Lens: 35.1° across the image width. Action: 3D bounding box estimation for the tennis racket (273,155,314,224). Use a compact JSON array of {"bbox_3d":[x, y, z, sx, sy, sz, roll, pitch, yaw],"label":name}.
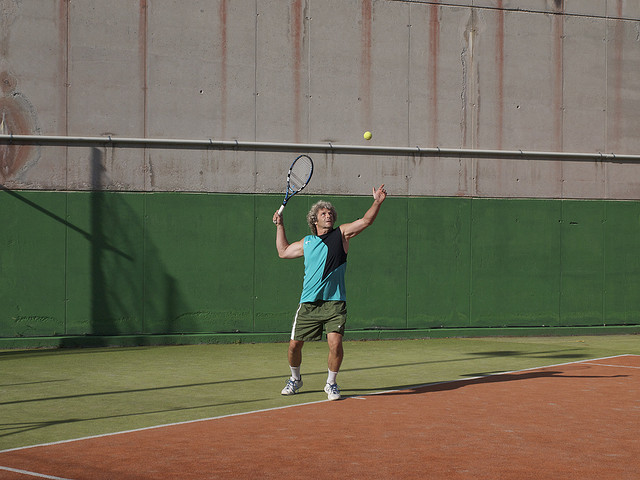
[{"bbox_3d":[-0.326,-1.007,18.121,0.413,1.594,0.115,27,-5,-17],"label":"tennis racket"}]
